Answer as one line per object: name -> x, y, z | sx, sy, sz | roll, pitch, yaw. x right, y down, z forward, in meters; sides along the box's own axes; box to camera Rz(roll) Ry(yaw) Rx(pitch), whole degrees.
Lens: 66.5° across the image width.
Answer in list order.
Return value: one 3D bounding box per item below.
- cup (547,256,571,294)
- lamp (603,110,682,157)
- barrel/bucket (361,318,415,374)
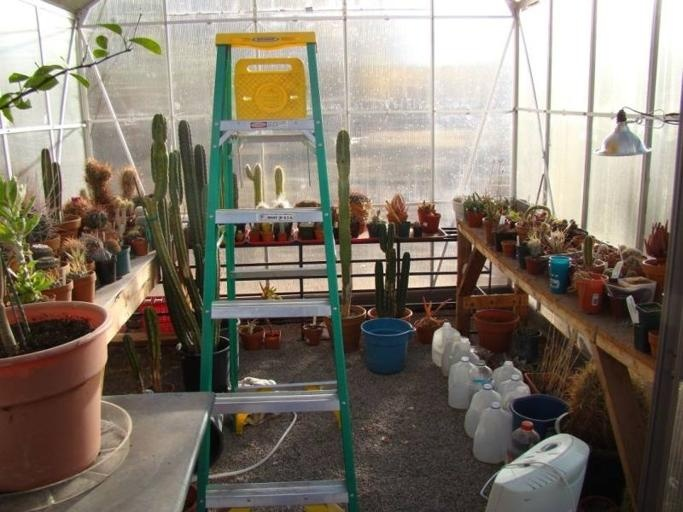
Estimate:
cup -> 1.235, 0.103, 2.937 | 0.156, 0.250, 0.186 | 1, 6, 29
lamp -> 1.606, -0.663, 2.807 | 0.343, 0.279, 0.904 | 5, 15, 32
barrel/bucket -> 0.340, 0.674, 4.064 | 0.383, 0.331, 0.366 | 0, 9, 0
